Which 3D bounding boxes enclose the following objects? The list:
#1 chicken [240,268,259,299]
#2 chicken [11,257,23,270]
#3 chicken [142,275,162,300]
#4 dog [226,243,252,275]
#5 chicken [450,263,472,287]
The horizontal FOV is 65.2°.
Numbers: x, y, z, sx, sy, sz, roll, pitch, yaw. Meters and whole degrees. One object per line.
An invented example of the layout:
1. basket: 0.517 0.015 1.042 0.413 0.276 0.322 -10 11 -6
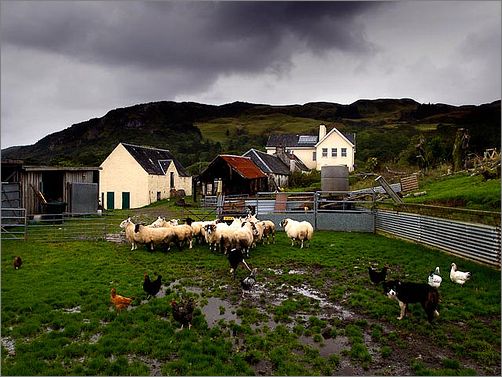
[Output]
1. chicken: -0.106 3.672 15.320 0.369 0.749 1.088 -5 -1 17
2. chicken: -10.467 3.296 17.513 0.302 0.574 0.884 -6 13 -30
3. chicken: -3.755 3.660 14.770 0.607 0.960 0.803 -4 12 -19
4. dog: -0.511 3.076 17.521 0.907 1.471 2.243 0 11 -1
5. chicken: 7.926 3.338 14.886 0.944 1.059 0.545 0 -7 40
